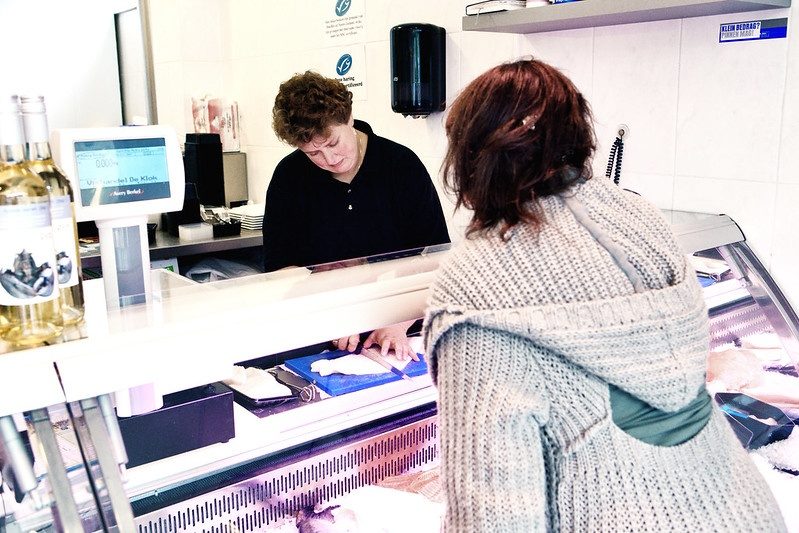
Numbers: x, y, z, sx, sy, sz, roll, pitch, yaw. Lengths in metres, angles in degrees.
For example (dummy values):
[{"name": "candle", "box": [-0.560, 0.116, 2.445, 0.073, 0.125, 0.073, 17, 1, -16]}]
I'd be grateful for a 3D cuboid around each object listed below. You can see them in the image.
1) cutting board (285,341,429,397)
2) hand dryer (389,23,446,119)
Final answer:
[{"name": "cutting board", "box": [-0.111, 0.278, 1.542, 0.334, 0.013, 0.181, -10, 27, -41]}, {"name": "hand dryer", "box": [0.095, -0.991, 2.985, 0.236, 0.600, 0.297, -14, 18, -40]}]
